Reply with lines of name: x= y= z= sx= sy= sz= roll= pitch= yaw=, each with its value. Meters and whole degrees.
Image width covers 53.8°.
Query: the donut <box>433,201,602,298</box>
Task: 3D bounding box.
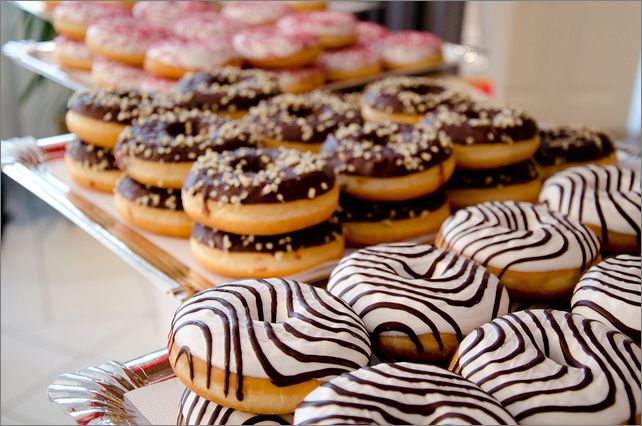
donut: x=0.633 y=0.032 z=1.971 sx=0.336 sy=0.135 sz=0.346 roll=21 pitch=32 yaw=37

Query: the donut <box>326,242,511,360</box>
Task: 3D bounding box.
donut: x=0.287 y=0.247 z=1.843 sx=0.354 sy=0.145 sz=0.361 roll=11 pitch=22 yaw=14
